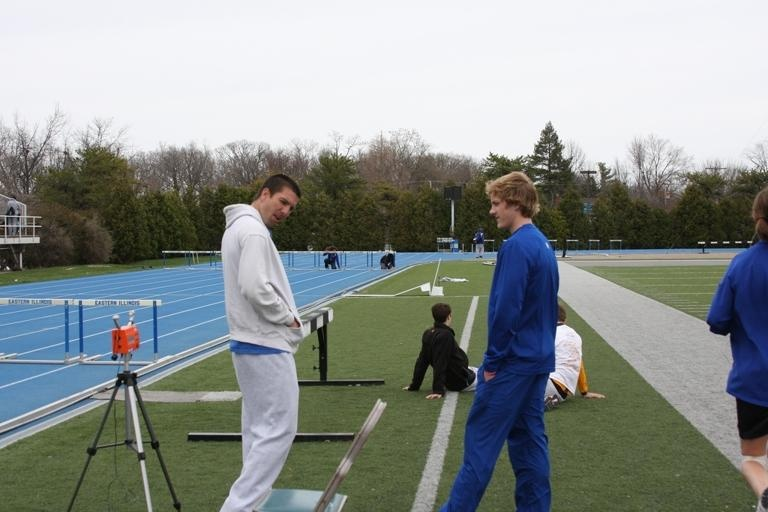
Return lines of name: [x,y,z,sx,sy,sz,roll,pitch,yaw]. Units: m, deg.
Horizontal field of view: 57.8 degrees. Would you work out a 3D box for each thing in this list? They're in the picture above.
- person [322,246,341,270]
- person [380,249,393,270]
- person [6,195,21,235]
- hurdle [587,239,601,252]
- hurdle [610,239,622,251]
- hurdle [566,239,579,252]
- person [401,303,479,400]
person: [-2.567,0.036,34.652,0.620,1.114,2.279,-1,4,-2]
person: [0.173,0.151,33.580,0.601,0.830,1.286,-1,4,-1]
person: [-16.491,-1.773,31.063,0.580,1.631,1.359,-3,5,-26]
hurdle: [17.274,-1.001,57.265,0.907,0.859,0.762,0,4,10]
hurdle: [19.143,-1.031,57.082,1.107,1.138,1.150,0,-1,2]
hurdle: [15.442,-0.994,57.033,1.179,1.223,0.946,-1,-2,1]
person: [1.078,1.237,9.629,1.608,1.225,0.642,-1,2,-42]
